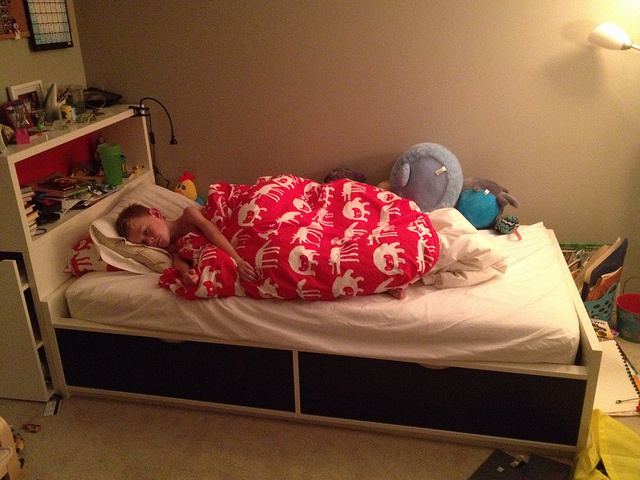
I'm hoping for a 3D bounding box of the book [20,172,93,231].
[{"bbox_3d":[-1.368,-0.231,2.333,0.291,0.073,0.298,14,27,28],"label":"book"}]

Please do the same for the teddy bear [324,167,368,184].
[{"bbox_3d":[0.164,-0.406,2.748,0.176,0.057,0.133,6,27,1],"label":"teddy bear"}]

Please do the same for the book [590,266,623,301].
[{"bbox_3d":[1.633,0.244,2.563,0.201,0.253,0.034,-7,34,-42],"label":"book"}]

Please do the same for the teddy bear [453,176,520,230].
[{"bbox_3d":[0.936,-0.218,2.623,0.348,0.266,0.126,34,-8,4],"label":"teddy bear"}]

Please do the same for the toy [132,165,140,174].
[{"bbox_3d":[-1.131,-0.436,2.749,0.042,0.039,0.043,-2,13,-3],"label":"toy"}]

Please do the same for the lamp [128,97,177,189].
[{"bbox_3d":[-1.064,-0.641,2.900,0.216,0.611,0.171,-1,24,-10],"label":"lamp"}]

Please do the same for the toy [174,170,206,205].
[{"bbox_3d":[-0.837,-0.333,2.934,0.142,0.221,0.215,-2,-1,41],"label":"toy"}]

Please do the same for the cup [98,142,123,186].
[{"bbox_3d":[-1.194,-0.432,2.559,0.108,0.228,0.081,-8,28,-23],"label":"cup"}]

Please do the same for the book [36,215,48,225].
[{"bbox_3d":[-1.329,-0.099,2.147,0.046,0.014,0.028,-32,70,-22],"label":"book"}]

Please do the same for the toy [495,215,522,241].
[{"bbox_3d":[1.069,-0.064,2.540,0.101,0.072,0.145,-26,46,-2],"label":"toy"}]

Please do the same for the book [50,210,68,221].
[{"bbox_3d":[-1.283,-0.123,2.197,0.032,0.024,0.084,-4,17,-9],"label":"book"}]

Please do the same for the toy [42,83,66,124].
[{"bbox_3d":[-1.457,-0.755,2.448,0.119,0.183,0.238,-10,29,-27],"label":"toy"}]
